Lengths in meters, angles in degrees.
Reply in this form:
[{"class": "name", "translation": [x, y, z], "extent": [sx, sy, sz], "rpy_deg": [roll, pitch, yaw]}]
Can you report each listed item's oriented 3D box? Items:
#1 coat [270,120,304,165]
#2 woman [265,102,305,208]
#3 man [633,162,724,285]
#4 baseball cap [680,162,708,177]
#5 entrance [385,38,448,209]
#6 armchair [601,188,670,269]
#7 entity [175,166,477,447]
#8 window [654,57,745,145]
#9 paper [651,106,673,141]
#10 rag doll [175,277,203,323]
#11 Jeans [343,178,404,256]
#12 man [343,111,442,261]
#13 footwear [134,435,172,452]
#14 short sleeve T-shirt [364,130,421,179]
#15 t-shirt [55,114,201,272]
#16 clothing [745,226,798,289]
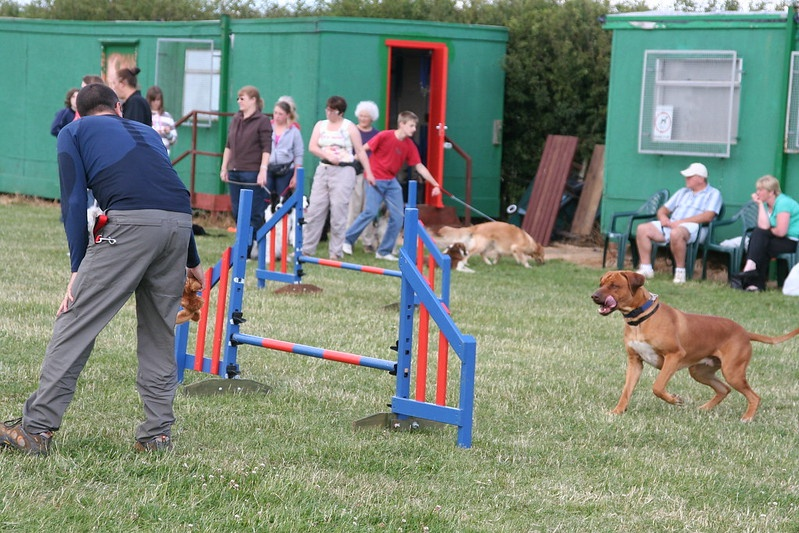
[{"class": "coat", "translation": [-1.639, -1.728, 23.386], "extent": [0.632, 0.838, 0.446], "rpy_deg": [2, -2, -1]}, {"class": "woman", "translation": [-1.789, -1.400, 23.433], "extent": [0.599, 2.126, 0.676], "rpy_deg": [4, 25, -3]}, {"class": "man", "translation": [4.272, -0.704, 23.870], "extent": [1.133, 2.020, 1.048], "rpy_deg": [10, -3, -35]}, {"class": "baseball cap", "translation": [4.511, -1.453, 23.850], "extent": [0.293, 0.196, 0.237], "rpy_deg": [1, 5, 1]}, {"class": "entrance", "translation": [0.229, -2.370, 26.513], "extent": [1.324, 3.388, 0.532], "rpy_deg": [8, -36, -9]}, {"class": "armchair", "translation": [3.697, -0.576, 24.668], "extent": [0.807, 1.236, 0.820], "rpy_deg": [4, 1, -28]}, {"class": "entity", "translation": [-0.871, 0.688, 18.449], "extent": [3.520, 2.614, 2.242], "rpy_deg": [6, 0, 20]}, {"class": "window", "translation": [4.784, -2.551, 24.620], "extent": [1.100, 1.295, 0.379], "rpy_deg": [4, 3, 43]}, {"class": "paper", "translation": [4.201, -2.237, 24.889], "extent": [0.295, 0.627, 0.048], "rpy_deg": [-1, -30, 20]}, {"class": "rag doll", "translation": [-2.412, 0.343, 18.000], "extent": [0.322, 0.483, 0.246], "rpy_deg": [19, 27, 19]}, {"class": "Jeans", "translation": [-0.365, -0.928, 23.996], "extent": [0.766, 1.556, 0.467], "rpy_deg": [9, 25, 3]}, {"class": "man", "translation": [-0.109, -1.219, 24.002], "extent": [1.275, 2.434, 0.631], "rpy_deg": [4, -19, 1]}, {"class": "footwear", "translation": [-2.699, 1.898, 17.306], "extent": [0.393, 0.221, 0.165], "rpy_deg": [2, 9, 3]}, {"class": "short sleeve T-shirt", "translation": [-0.127, -1.724, 24.131], "extent": [0.668, 0.691, 0.315], "rpy_deg": [15, 7, -17]}, {"class": "t-shirt", "translation": [-2.919, -0.773, 17.436], "extent": [1.244, 2.122, 0.903], "rpy_deg": [-15, -4, -38]}, {"class": "clothing", "translation": [5.430, -0.163, 23.351], "extent": [0.685, 1.084, 0.769], "rpy_deg": [8, 13, 40]}]
